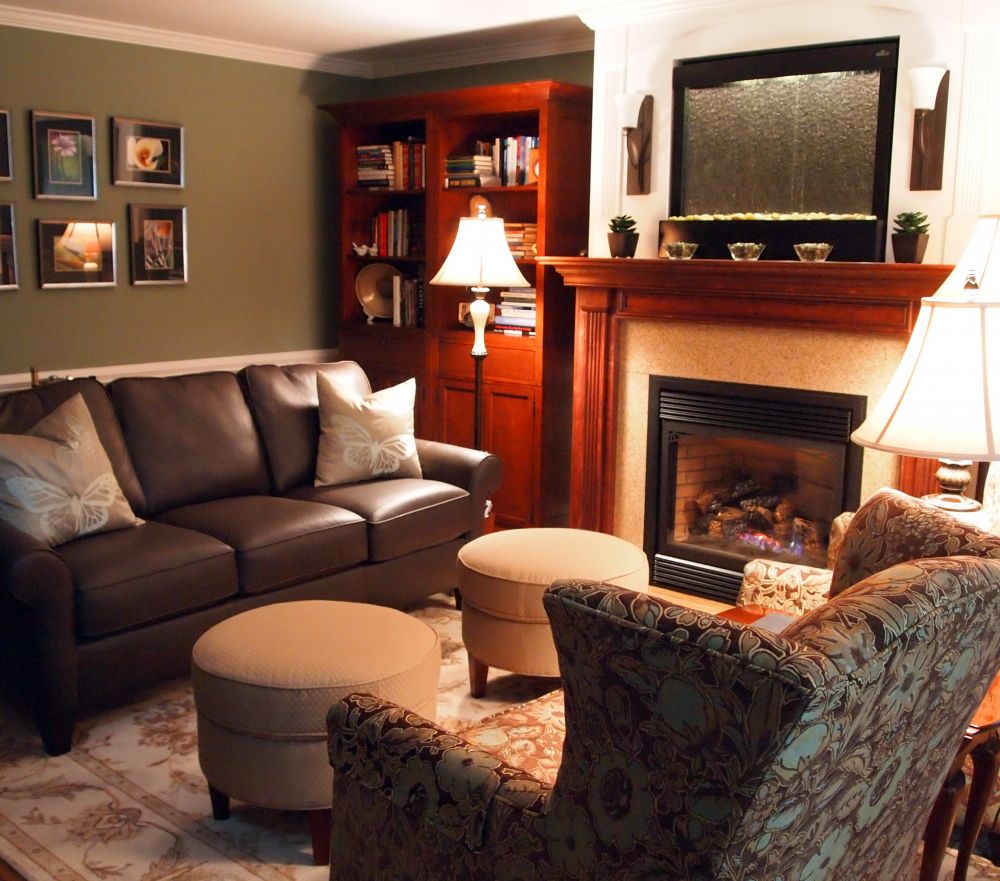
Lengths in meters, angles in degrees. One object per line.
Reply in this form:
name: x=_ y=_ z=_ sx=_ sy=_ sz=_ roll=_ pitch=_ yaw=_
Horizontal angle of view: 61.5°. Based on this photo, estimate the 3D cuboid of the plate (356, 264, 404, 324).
plate: x=-0.819 y=-0.976 z=5.542 sx=0.377 sy=0.379 sz=0.089 roll=-11 pitch=11 yaw=-21

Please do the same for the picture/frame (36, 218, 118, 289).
picture/frame: x=-2.309 y=-1.030 z=4.532 sx=0.026 sy=0.336 sz=0.395 roll=12 pitch=15 yaw=44

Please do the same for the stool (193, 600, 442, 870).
stool: x=-0.428 y=0.644 z=2.286 sx=0.586 sy=0.461 sz=0.595 roll=11 pitch=18 yaw=27

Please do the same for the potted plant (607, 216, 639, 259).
potted plant: x=0.566 y=-0.962 z=3.920 sx=0.136 sy=0.187 sz=0.095 roll=2 pitch=13 yaw=5

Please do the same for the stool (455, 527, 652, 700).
stool: x=0.207 y=0.620 z=3.040 sx=0.683 sy=0.542 sz=0.685 roll=0 pitch=8 yaw=9

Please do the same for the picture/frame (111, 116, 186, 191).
picture/frame: x=-2.007 y=-1.643 z=4.736 sx=0.485 sy=0.412 sz=0.033 roll=-3 pitch=5 yaw=-42

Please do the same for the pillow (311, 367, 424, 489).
pillow: x=-0.611 y=-0.047 z=3.758 sx=0.655 sy=0.631 sz=0.245 roll=1 pitch=-5 yaw=-29

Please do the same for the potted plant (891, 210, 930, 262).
potted plant: x=1.574 y=-0.788 z=3.234 sx=0.121 sy=0.181 sz=0.069 roll=6 pitch=14 yaw=22

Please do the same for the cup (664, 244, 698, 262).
cup: x=0.798 y=-0.857 z=3.752 sx=0.111 sy=0.051 sz=0.114 roll=1 pitch=10 yaw=0

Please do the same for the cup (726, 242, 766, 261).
cup: x=1.060 y=-0.799 z=3.581 sx=0.107 sy=0.046 sz=0.106 roll=0 pitch=9 yaw=0

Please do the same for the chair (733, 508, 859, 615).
chair: x=0.846 y=0.319 z=2.498 sx=0.310 sy=0.392 sz=0.289 roll=10 pitch=15 yaw=37

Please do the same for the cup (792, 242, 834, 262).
cup: x=1.281 y=-0.768 z=3.422 sx=0.112 sy=0.051 sz=0.112 roll=1 pitch=9 yaw=0
